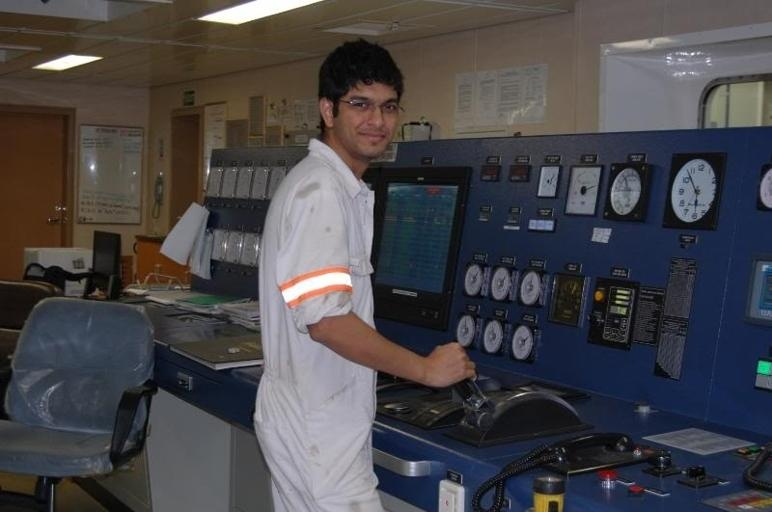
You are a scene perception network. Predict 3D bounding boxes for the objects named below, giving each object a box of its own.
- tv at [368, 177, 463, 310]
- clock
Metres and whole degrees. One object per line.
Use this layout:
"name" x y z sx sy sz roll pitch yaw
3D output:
"tv" 0.184 -0.064 2.541 0.123 0.480 0.524 8 1 -44
"clock" 1.037 -0.213 1.839 0.040 0.329 0.250 18 -9 -43
